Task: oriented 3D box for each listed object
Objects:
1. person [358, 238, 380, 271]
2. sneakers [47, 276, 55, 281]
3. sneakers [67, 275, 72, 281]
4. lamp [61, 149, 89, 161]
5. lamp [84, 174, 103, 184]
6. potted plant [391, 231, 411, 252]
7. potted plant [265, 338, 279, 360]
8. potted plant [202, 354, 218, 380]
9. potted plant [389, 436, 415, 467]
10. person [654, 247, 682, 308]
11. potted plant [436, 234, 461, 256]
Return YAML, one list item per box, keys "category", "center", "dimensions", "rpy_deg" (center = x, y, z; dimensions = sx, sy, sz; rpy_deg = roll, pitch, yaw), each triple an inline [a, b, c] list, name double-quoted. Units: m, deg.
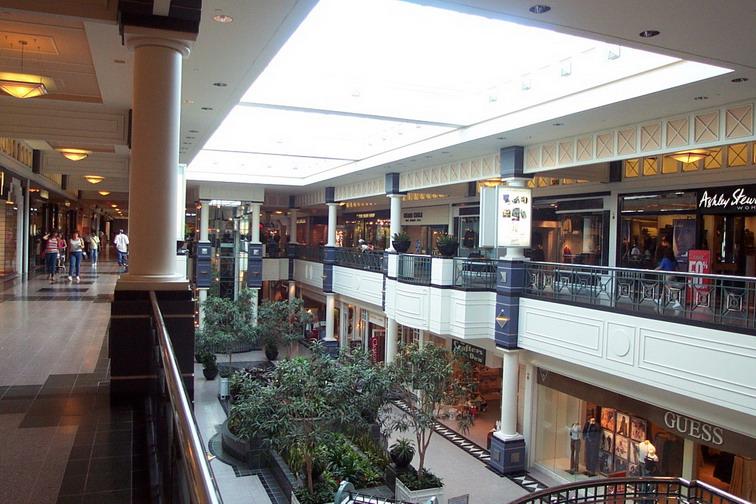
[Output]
- category: "person"
  center: [-0.234, 0.301, 22.667]
  dimensions: [0.473, 0.907, 1.976]
  rpy_deg: [0, 2, -13]
- category: "sneakers"
  center: [-10.429, 0.860, 17.363]
  dimensions: [0.103, 0.186, 0.105]
  rpy_deg: [-4, -8, 37]
- category: "sneakers"
  center: [-9.676, 0.836, 17.091]
  dimensions: [0.170, 0.114, 0.269]
  rpy_deg: [4, -6, -31]
- category: "lamp"
  center: [-7.757, -2.521, 13.980]
  dimensions: [0.539, 0.214, 0.563]
  rpy_deg: [0, 2, -18]
- category: "lamp"
  center: [-9.747, -2.515, 18.704]
  dimensions: [0.511, 0.196, 0.505]
  rpy_deg: [0, -4, -8]
- category: "potted plant"
  center: [0.881, -0.334, 19.458]
  dimensions: [0.653, 0.711, 0.642]
  rpy_deg: [1, -6, -10]
- category: "potted plant"
  center: [-5.093, 4.684, 26.217]
  dimensions: [0.535, 1.180, 0.784]
  rpy_deg: [0, 2, -8]
- category: "potted plant"
  center: [-7.127, 4.910, 23.231]
  dimensions: [0.615, 1.191, 0.748]
  rpy_deg: [0, 2, -19]
- category: "potted plant"
  center: [0.620, 5.337, 14.544]
  dimensions: [0.722, 0.815, 0.815]
  rpy_deg: [2, -7, -2]
- category: "person"
  center: [6.702, 0.559, 12.455]
  dimensions: [0.388, 1.244, 3.364]
  rpy_deg: [1, 2, 27]
- category: "potted plant"
  center: [2.221, -0.176, 17.086]
  dimensions: [0.629, 0.662, 0.618]
  rpy_deg: [2, -4, -25]
